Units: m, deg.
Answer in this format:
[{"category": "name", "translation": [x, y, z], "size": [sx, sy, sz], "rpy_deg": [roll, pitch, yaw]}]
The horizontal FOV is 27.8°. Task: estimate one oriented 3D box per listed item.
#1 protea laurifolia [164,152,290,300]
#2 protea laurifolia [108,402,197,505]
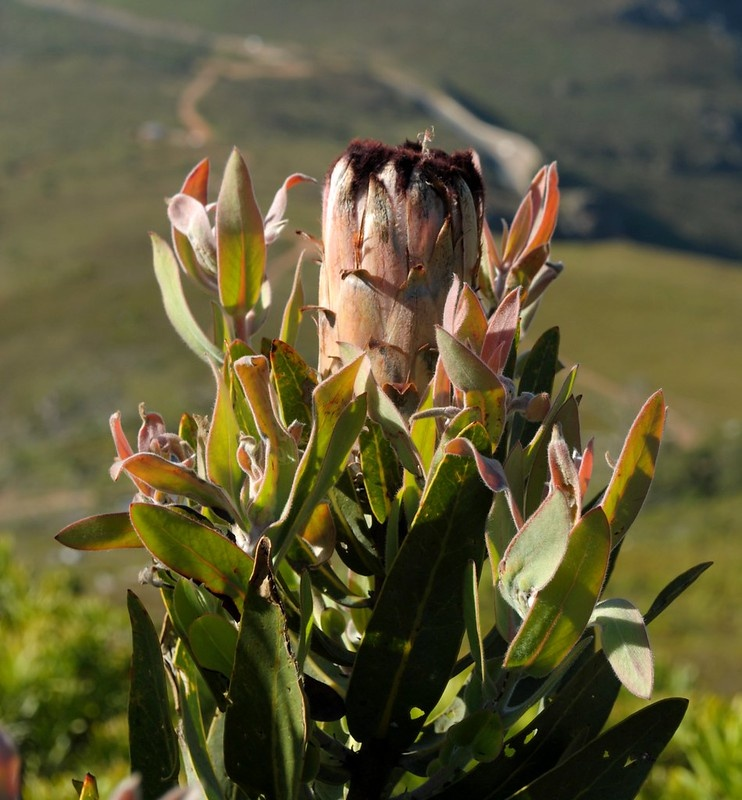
[{"category": "protea laurifolia", "translation": [-0.142, -0.166, 1.430], "size": [0.114, 0.134, 0.099], "rpy_deg": [-2, 67, 1]}, {"category": "protea laurifolia", "translation": [-0.209, 0.038, 1.435], "size": [0.079, 0.092, 0.098], "rpy_deg": [-12, 33, -11]}]
